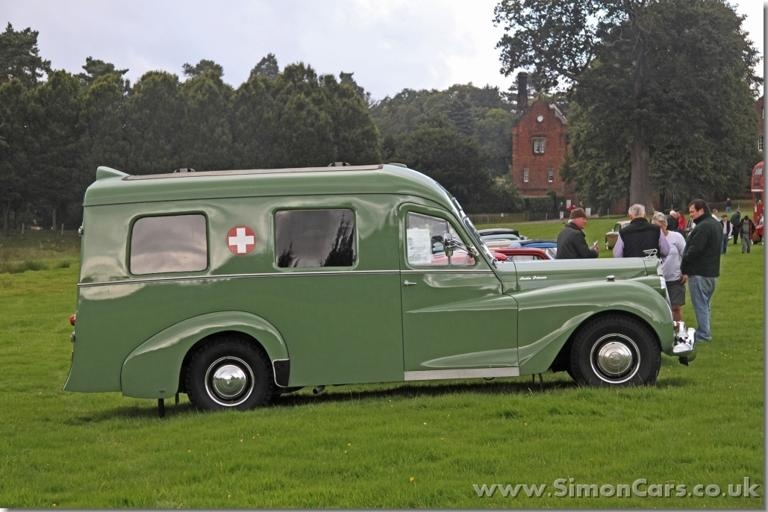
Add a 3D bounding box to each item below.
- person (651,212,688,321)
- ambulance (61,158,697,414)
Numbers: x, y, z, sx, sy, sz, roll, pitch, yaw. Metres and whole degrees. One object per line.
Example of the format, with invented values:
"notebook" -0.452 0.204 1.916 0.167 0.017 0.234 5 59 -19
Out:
"person" 6.425 0.455 21.551 0.811 2.901 0.861 -2 3 39
"ambulance" -0.053 0.855 19.226 11.580 4.945 3.984 -3 -11 -4
